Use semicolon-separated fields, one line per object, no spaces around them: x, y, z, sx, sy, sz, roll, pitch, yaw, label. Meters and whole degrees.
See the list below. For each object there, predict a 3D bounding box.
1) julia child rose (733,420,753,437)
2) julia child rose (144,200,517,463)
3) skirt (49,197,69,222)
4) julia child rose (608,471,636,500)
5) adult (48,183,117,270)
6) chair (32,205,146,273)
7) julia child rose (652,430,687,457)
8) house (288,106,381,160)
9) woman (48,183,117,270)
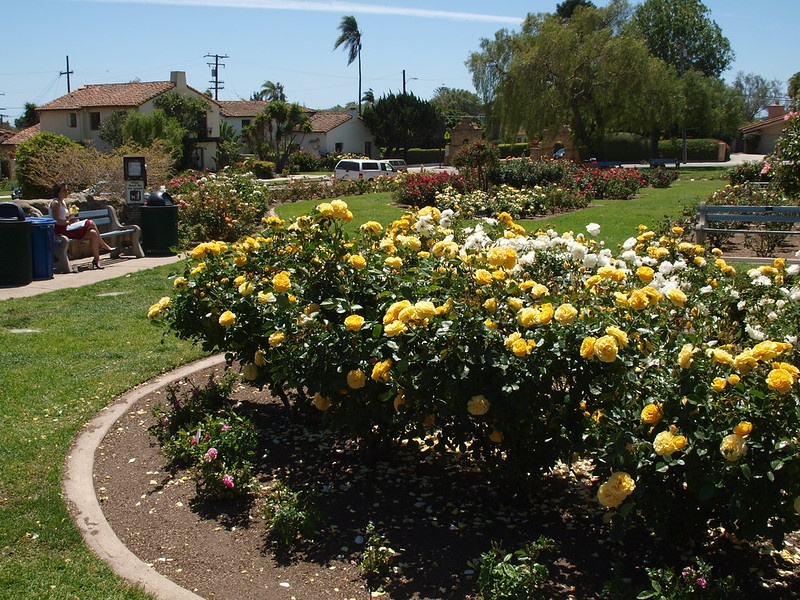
1.846;0.683;3.683;0.075;0.064;0.083;3;14;16;julia child rose
-0.390;0.130;4.926;2.233;1.572;2.062;10;18;28;julia child rose
-6.163;-1.622;12.495;0.330;0.439;0.335;-9;15;-38;skirt
1.264;1.054;3.920;0.138;0.146;0.090;7;-11;26;julia child rose
-6.016;-1.408;12.856;0.869;1.528;1.285;-4;13;-24;adult
-5.995;-1.194;13.361;0.796;1.036;2.068;1;11;17;chair
1.435;0.774;3.729;0.160;0.110;0.125;-7;-32;-19;julia child rose
-6.106;-16.351;68.465;5.627;4.214;6.608;-8;19;-24;house
-6.013;-1.412;12.863;0.899;1.524;1.262;-5;13;-27;woman
